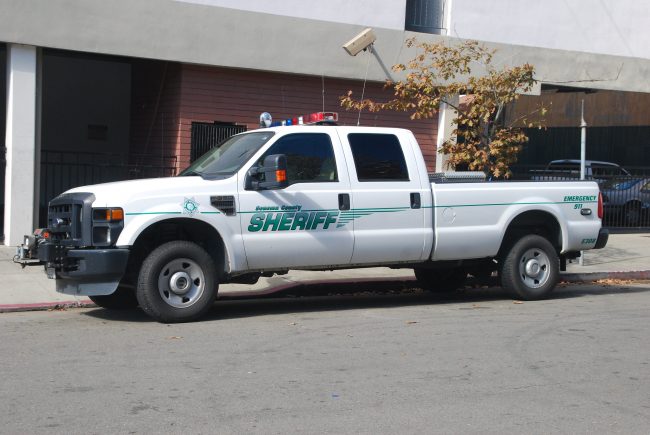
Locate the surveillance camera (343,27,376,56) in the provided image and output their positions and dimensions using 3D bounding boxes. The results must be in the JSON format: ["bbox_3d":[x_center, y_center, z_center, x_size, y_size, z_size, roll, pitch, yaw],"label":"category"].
[{"bbox_3d":[0.870,-4.599,15.809,0.834,0.434,0.328,-36,-1,-13],"label":"surveillance camera"}]
